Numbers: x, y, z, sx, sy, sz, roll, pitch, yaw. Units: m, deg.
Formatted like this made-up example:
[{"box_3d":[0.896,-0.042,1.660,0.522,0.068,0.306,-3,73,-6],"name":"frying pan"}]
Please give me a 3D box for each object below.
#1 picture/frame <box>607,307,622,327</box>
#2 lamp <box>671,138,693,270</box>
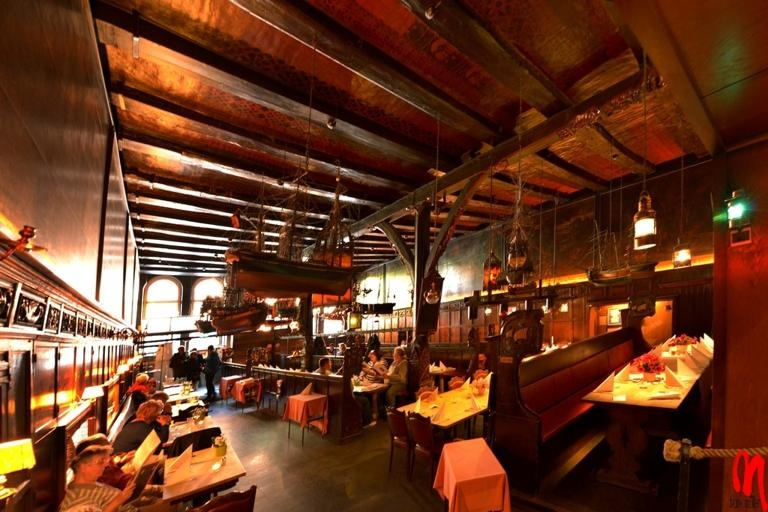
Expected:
[{"box_3d":[6.643,1.759,14.130,0.112,0.444,0.459,12,-10,-41],"name":"picture/frame"},{"box_3d":[6.680,-0.958,10.771,0.435,2.439,0.394,5,-6,30],"name":"lamp"}]
